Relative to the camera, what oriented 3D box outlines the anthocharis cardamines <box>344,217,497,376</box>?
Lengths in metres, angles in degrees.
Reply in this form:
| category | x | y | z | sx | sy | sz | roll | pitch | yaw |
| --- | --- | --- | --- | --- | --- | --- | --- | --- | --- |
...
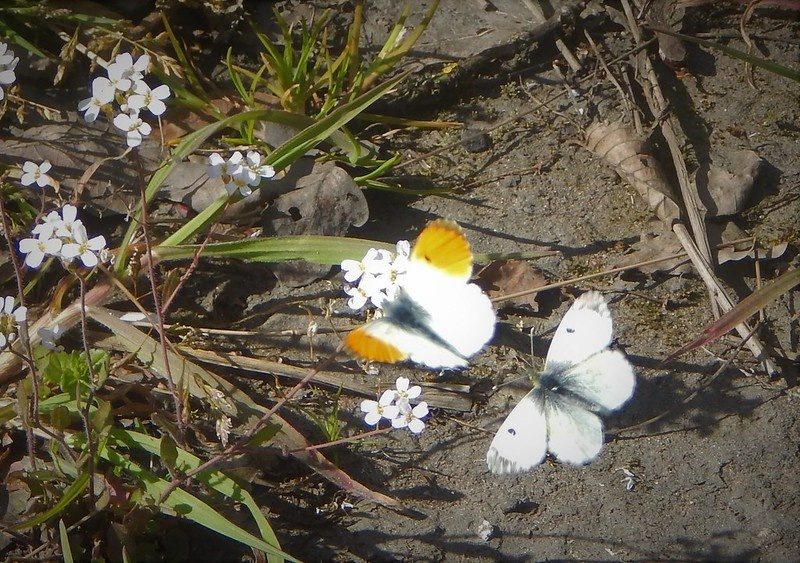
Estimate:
| category | x | y | z | sx | sy | sz | roll | pitch | yaw |
| --- | --- | --- | --- | --- | --- | --- | --- | --- | --- |
| anthocharis cardamines | 0.114 | 0.129 | 3.988 | 0.403 | 0.562 | 0.636 | 27 | 61 | 27 |
